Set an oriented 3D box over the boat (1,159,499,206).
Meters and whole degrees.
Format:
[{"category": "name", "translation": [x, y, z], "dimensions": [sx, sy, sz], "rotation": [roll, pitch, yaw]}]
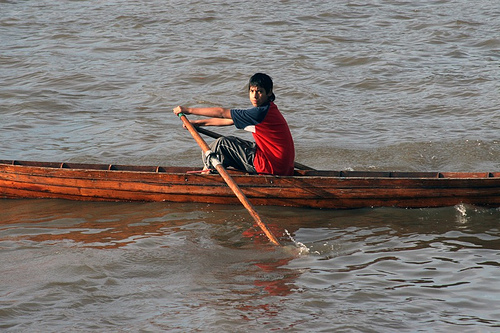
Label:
[{"category": "boat", "translation": [-0.194, 0.401, 19.313], "dimensions": [12.147, 0.625, 1.164], "rotation": [1, 10, 6]}]
